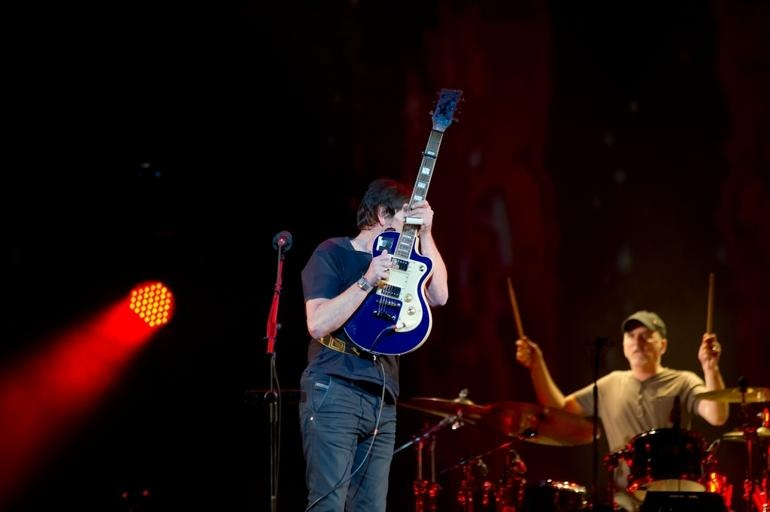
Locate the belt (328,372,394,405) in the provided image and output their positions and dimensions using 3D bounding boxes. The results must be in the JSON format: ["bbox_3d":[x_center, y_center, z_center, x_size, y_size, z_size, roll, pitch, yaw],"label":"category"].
[{"bbox_3d":[-0.161,1.031,5.397,0.574,0.100,0.106,23,-36,-20],"label":"belt"}]

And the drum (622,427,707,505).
[{"bbox_3d":[2.808,1.930,7.029,0.854,0.638,0.894,0,10,0],"label":"drum"}]

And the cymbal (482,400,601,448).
[{"bbox_3d":[1.483,1.643,6.784,0.680,0.175,0.709,1,-29,27],"label":"cymbal"}]
